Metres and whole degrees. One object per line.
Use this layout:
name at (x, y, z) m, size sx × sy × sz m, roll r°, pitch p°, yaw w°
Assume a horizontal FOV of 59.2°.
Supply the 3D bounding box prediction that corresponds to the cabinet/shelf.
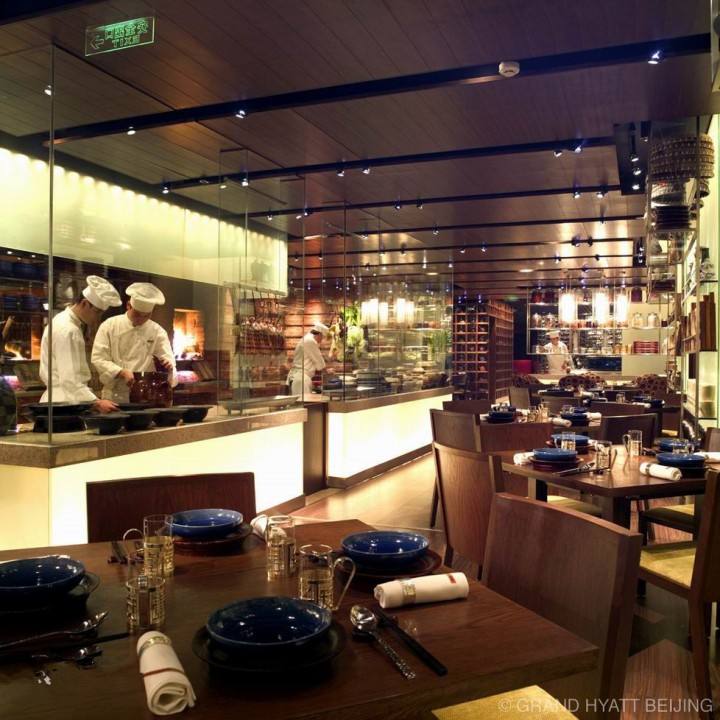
cabinet/shelf at (2.669, -0.192, 14.366) m, size 1.115 × 3.107 × 2.910 m, roll 1°, pitch 0°, yaw 39°

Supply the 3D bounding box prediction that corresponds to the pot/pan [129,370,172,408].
pot/pan at (-1.179, 0.162, 3.544) m, size 0.188 × 0.179 × 0.185 m, roll -2°, pitch 6°, yaw -36°

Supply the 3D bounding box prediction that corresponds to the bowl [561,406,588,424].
bowl at (1.595, 0.419, 4.705) m, size 0.144 × 0.047 × 0.201 m, roll 0°, pitch 8°, yaw 9°

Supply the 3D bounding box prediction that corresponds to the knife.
knife at (0.076, 0.416, 0.974) m, size 0.029 × 0.010 × 0.220 m, roll 6°, pitch 0°, yaw -13°

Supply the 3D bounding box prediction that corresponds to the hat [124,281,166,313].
hat at (-1.248, -0.354, 3.647) m, size 0.154 × 0.088 × 0.157 m, roll 18°, pitch 24°, yaw 6°

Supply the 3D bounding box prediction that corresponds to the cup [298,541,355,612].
cup at (-0.069, 0.401, 1.174) m, size 0.134 × 0.129 × 0.077 m, roll 4°, pitch -5°, yaw -17°

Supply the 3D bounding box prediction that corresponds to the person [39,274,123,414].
person at (-1.353, -0.073, 3.022) m, size 0.287 × 0.763 × 0.428 m, roll -5°, pitch 28°, yaw -25°

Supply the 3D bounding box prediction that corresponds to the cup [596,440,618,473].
cup at (1.103, 0.438, 2.829) m, size 0.092 × 0.154 × 0.156 m, roll 1°, pitch -3°, yaw 5°

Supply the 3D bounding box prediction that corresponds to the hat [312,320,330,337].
hat at (-0.453, -0.354, 7.121) m, size 0.196 × 0.070 × 0.139 m, roll 23°, pitch 10°, yaw -4°
